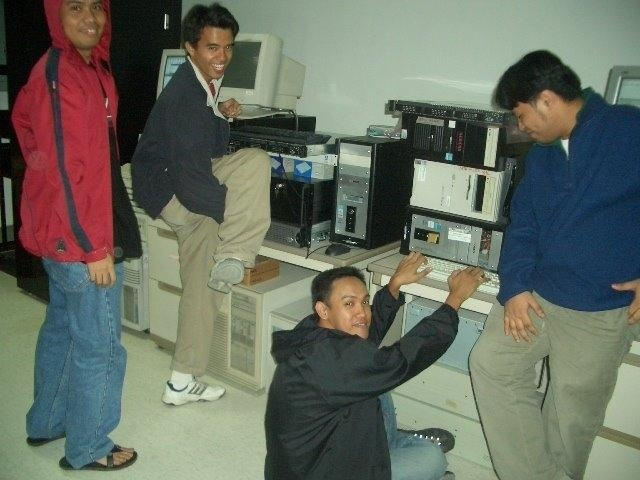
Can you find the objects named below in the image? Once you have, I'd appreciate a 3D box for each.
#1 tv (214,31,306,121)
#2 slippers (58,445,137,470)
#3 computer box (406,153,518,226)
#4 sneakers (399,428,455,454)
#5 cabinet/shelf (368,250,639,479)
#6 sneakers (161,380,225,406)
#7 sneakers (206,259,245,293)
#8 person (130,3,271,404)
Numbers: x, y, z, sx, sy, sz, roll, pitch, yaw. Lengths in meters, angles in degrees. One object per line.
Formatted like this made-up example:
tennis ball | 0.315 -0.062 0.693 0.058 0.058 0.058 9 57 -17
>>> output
tv | -0.384 -1.085 3.684 0.490 0.378 0.486 19 24 32
slippers | -1.072 1.079 2.736 0.333 0.112 0.137 -1 12 -19
computer box | 0.728 -0.272 2.986 0.453 0.297 0.254 10 11 17
sneakers | 0.538 1.010 2.860 0.342 0.123 0.138 -1 -18 11
cabinet/shelf | 0.861 0.573 2.524 0.354 0.745 0.872 -15 30 -42
sneakers | -0.724 0.878 3.284 0.372 0.162 0.133 -2 9 -29
sneakers | -0.488 0.193 2.936 0.180 0.221 0.133 0 16 -13
person | -0.689 -0.014 3.109 0.798 1.905 0.443 10 16 25
